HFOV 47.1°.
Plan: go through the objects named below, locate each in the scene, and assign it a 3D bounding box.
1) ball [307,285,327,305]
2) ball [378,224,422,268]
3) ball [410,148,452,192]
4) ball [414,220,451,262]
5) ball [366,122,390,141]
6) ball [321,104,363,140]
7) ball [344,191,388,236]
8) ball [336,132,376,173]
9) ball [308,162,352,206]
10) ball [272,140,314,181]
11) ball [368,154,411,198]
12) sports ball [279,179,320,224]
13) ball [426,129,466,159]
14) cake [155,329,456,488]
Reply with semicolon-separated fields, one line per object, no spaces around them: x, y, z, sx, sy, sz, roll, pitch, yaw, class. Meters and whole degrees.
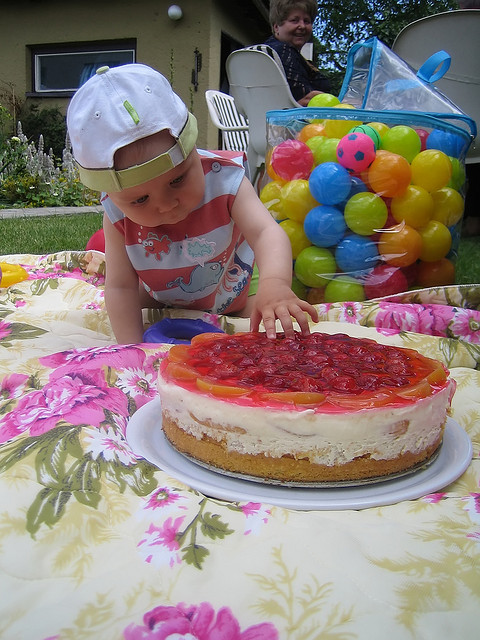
0.302;-0.094;2.171;0.080;0.083;0.074;14;9;-2;ball
0.557;-0.268;2.001;0.153;0.165;0.142;-6;52;7;ball
0.669;-0.541;1.984;0.120;0.140;0.140;10;23;27;ball
0.726;-0.301;2.077;0.163;0.162;0.146;-2;-12;16;ball
0.519;-0.705;2.068;0.062;0.056;0.075;0;0;1;ball
0.404;-0.791;2.164;0.118;0.104;0.127;15;3;-1;ball
0.448;-0.374;1.962;0.150;0.156;0.054;2;24;10;ball
0.410;-0.590;1.944;0.107;0.131;0.119;-11;24;-18;ball
0.320;-0.483;1.967;0.154;0.149;0.086;4;24;16;ball
0.199;-0.604;2.094;0.164;0.149;0.086;28;19;6;ball
0.518;-0.497;1.913;0.141;0.150;0.068;1;24;8;ball
0.217;-0.468;2.110;0.143;0.141;0.128;8;-2;-8;sports ball
0.775;-0.674;2.120;0.106;0.125;0.107;8;25;-4;ball
0.095;0.145;1.041;0.547;0.174;0.431;7;23;23;cake
